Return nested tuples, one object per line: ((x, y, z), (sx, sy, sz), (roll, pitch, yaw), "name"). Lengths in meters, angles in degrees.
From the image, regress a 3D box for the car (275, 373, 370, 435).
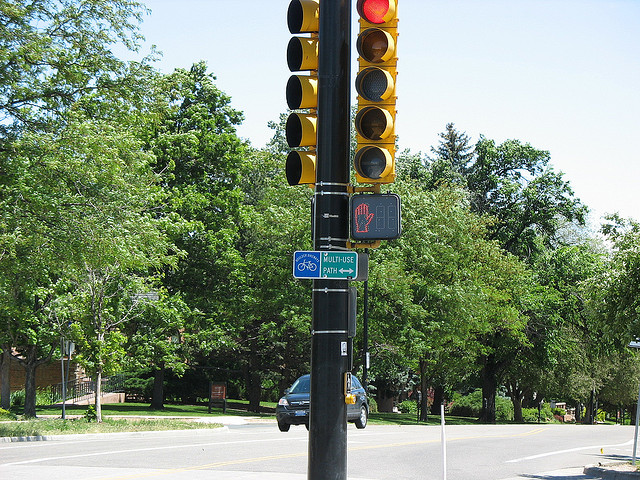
((-0.042, 6.176, 32.845), (2.520, 2.321, 5.178), (-5, -16, 18), "car")

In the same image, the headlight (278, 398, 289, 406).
((-1.318, 5.990, 31.945), (0.301, 0.229, 0.494), (0, -17, 0), "headlight")

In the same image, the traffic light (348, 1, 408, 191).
((1.269, -3.287, 19.486), (1.052, 4.195, 0.757), (-2, -9, 16), "traffic light")

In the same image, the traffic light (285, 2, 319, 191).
((-0.404, -3.359, 19.957), (0.733, 4.305, 0.878), (0, -9, -3), "traffic light")
